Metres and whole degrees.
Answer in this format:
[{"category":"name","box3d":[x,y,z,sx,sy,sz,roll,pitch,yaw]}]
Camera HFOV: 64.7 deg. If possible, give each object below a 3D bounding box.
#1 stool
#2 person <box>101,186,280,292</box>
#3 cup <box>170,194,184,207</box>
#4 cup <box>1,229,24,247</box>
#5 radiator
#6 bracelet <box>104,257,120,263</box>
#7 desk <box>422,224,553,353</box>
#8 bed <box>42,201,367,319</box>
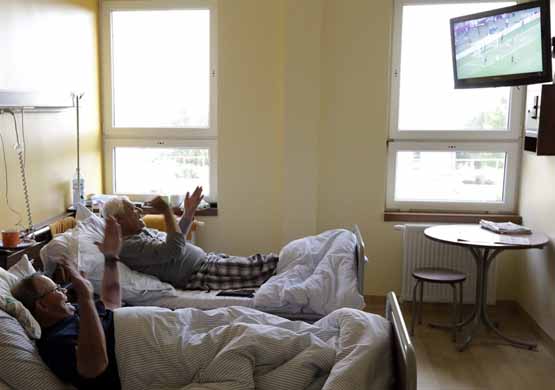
[{"category":"stool","box3d":[1.355,0.918,3.728,0.447,0.520,0.466,0,2,-1]},{"category":"person","box3d":[-0.522,0.358,3.340,1.384,0.749,0.637,1,4,-15]},{"category":"cup","box3d":[-0.932,0.057,4.090,0.121,0.100,0.099,3,2,7]},{"category":"cup","box3d":[-1.722,0.277,2.849,0.137,0.114,0.106,2,0,-36]},{"category":"radiator","box3d":[1.500,0.594,3.801,0.701,0.598,0.105,1,11,6]},{"category":"bracelet","box3d":[-0.996,0.387,2.614,0.073,0.044,0.029,7,-1,-36]},{"category":"desk","box3d":[1.666,0.725,3.574,0.930,0.890,0.631,1,14,8]},{"category":"bed","box3d":[-0.270,0.387,2.974,1.221,0.522,1.136,0,4,2]}]
